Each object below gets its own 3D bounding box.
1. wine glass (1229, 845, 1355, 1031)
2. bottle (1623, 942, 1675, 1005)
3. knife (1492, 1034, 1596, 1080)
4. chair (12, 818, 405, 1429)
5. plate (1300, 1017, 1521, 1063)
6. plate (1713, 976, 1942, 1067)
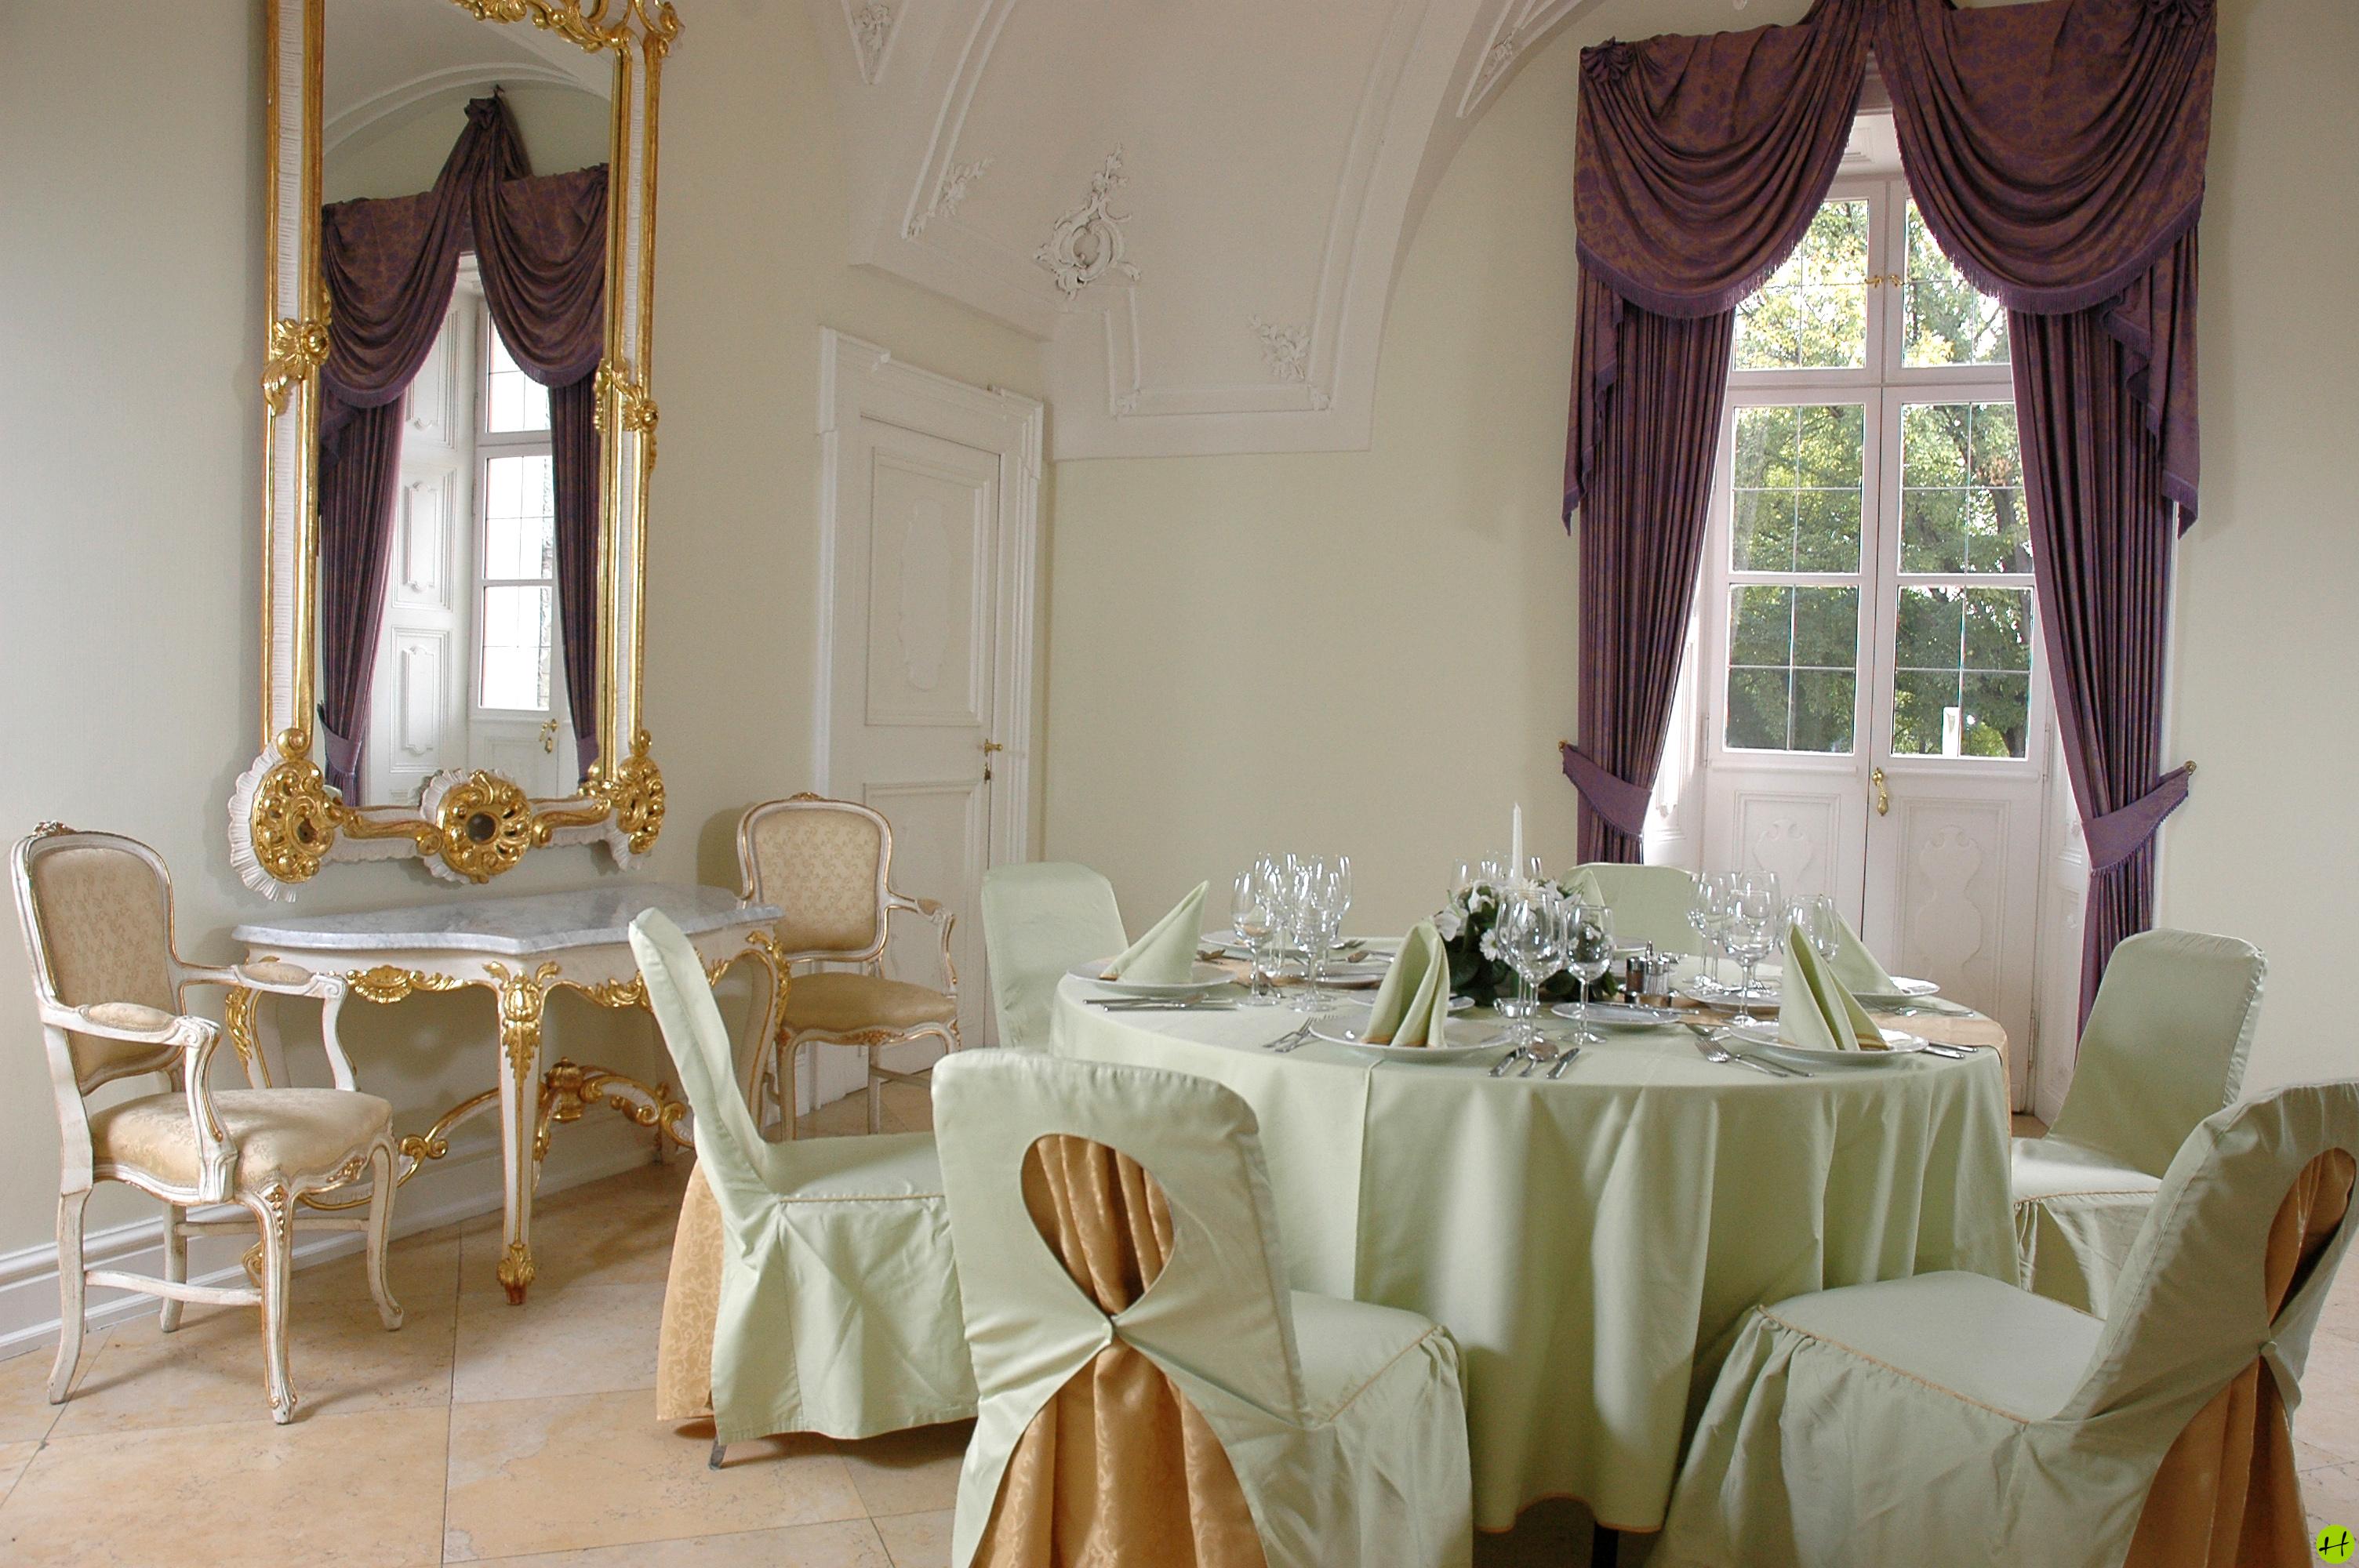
[{"bbox_3d":[0.289,0.346,4.486,0.272,0.493,0.325,1,-3,0],"label":"wine glass"},{"bbox_3d":[1.185,0.472,4.361,0.113,0.120,0.119,0,-2,15],"label":"bottle"},{"bbox_3d":[0.803,0.601,3.863,0.082,0.020,0.335,0,6,19],"label":"knife"},{"bbox_3d":[-2.568,0.852,4.652,0.909,1.500,0.673,0,1,3],"label":"chair"},{"bbox_3d":[0.539,0.575,3.959,0.476,0.079,0.340,0,-1,-7],"label":"plate"},{"bbox_3d":[1.482,0.573,3.952,0.543,0.101,0.259,0,-1,-7],"label":"plate"}]
